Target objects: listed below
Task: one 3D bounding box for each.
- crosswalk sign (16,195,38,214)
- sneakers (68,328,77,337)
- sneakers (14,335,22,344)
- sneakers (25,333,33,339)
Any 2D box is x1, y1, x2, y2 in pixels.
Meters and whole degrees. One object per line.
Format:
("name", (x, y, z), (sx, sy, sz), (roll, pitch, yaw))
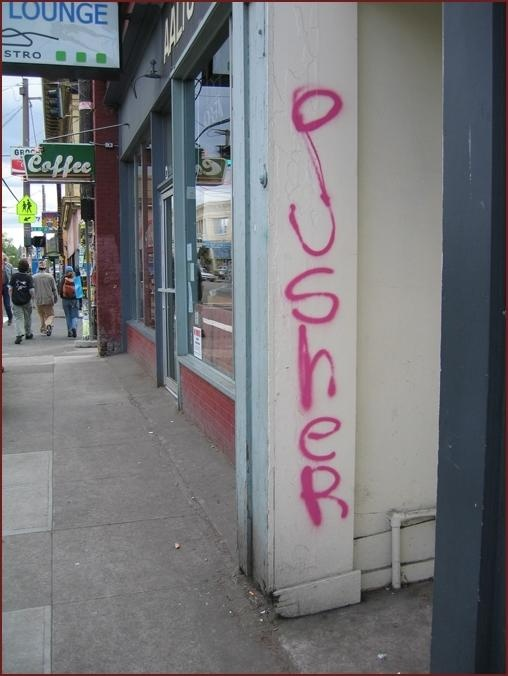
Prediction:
("crosswalk sign", (-7.549, -4.373, 22.721), (0.621, 0.649, 0.776), (-3, 6, -25))
("sneakers", (-4.161, -0.088, 15.721), (0.088, 0.172, 0.328), (0, -16, -11))
("sneakers", (-4.814, 0.034, 13.918), (0.099, 0.195, 0.166), (18, 7, 6))
("sneakers", (-4.941, -0.019, 15.033), (0.139, 0.124, 0.343), (-2, 6, -17))
